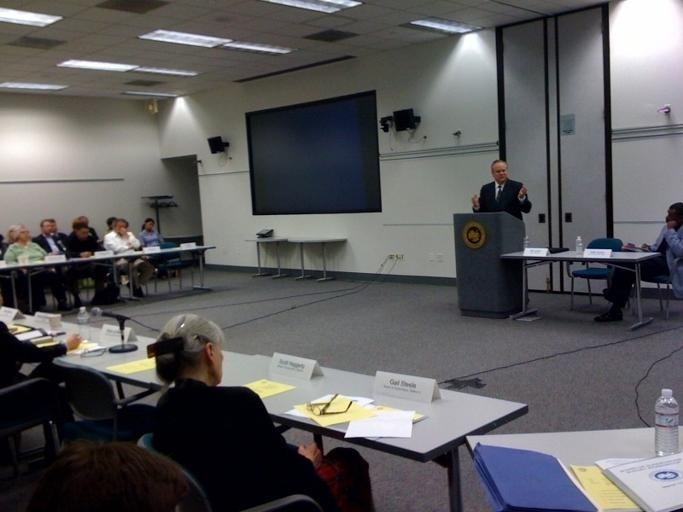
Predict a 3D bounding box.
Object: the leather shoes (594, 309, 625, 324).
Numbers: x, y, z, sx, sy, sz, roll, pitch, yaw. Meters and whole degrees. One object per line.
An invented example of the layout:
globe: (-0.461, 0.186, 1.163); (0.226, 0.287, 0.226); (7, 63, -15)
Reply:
leather shoes: (3.303, 0.737, 6.131); (0.389, 0.171, 0.151); (0, 0, -2)

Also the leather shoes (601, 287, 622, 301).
leather shoes: (3.413, 0.480, 6.235); (0.094, 0.157, 0.155); (-3, 3, -27)

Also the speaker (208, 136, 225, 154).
speaker: (-2.999, -2.686, 11.907); (0.351, 0.311, 0.401); (3, 7, 24)

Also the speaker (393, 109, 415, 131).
speaker: (1.138, -2.477, 8.932); (0.358, 0.378, 0.098); (4, 14, 28)

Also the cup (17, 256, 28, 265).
cup: (-5.210, 0.051, 8.096); (0.159, 0.165, 0.163); (0, 7, 0)

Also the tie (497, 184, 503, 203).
tie: (2.140, -0.883, 6.694); (0.046, 0.183, 0.105); (4, 3, -25)

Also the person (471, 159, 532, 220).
person: (2.121, -0.885, 6.566); (0.704, 0.796, 0.642); (-1, 7, 20)

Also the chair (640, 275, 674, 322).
chair: (4.135, 0.550, 6.460); (0.366, 0.585, 0.439); (-8, 10, -33)

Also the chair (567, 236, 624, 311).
chair: (3.444, 0.203, 6.620); (0.689, 0.942, 0.716); (-1, 1, 6)
